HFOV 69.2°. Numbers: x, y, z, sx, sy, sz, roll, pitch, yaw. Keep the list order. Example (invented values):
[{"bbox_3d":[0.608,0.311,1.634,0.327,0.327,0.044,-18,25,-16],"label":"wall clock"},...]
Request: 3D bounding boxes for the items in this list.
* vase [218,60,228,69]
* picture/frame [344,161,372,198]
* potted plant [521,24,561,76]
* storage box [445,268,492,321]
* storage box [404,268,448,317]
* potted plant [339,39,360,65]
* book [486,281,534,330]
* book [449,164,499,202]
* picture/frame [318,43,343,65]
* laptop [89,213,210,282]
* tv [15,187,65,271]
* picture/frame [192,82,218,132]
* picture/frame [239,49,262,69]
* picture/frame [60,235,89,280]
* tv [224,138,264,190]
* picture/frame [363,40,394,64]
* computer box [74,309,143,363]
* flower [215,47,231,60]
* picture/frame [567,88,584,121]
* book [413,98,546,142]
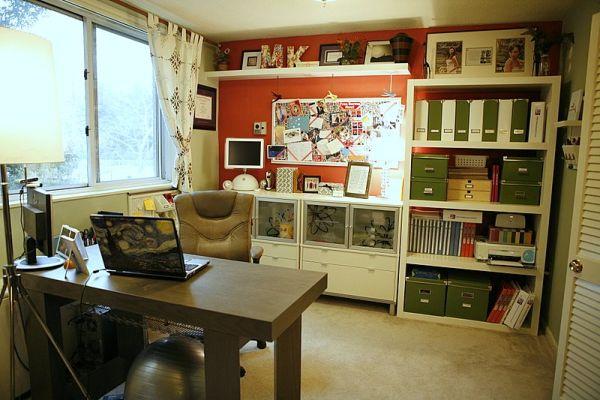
[{"bbox_3d":[-0.947,-1.645,5.330,0.099,0.070,0.099,-2,19,-3],"label":"vase"},{"bbox_3d":[0.664,-0.227,4.928,0.389,0.512,0.054,4,-9,23],"label":"picture/frame"},{"bbox_3d":[2.440,-1.503,4.375,0.365,0.562,0.389,4,8,23],"label":"potted plant"},{"bbox_3d":[1.720,0.977,4.472,0.442,0.425,0.447,4,1,20],"label":"storage box"},{"bbox_3d":[1.335,0.970,4.604,0.368,0.343,0.486,1,0,18],"label":"storage box"},{"bbox_3d":[0.568,-1.624,4.878,0.270,0.279,0.279,11,15,44],"label":"potted plant"},{"bbox_3d":[2.116,1.092,4.361,0.411,0.420,0.113,4,8,27],"label":"book"},{"bbox_3d":[1.771,-0.195,4.512,0.393,0.251,0.391,1,5,20],"label":"book"},{"bbox_3d":[0.368,-1.682,5.053,0.315,0.305,0.031,0,-2,18],"label":"picture/frame"},{"bbox_3d":[-1.061,0.299,3.154,0.696,0.454,0.565,1,8,22],"label":"laptop"},{"bbox_3d":[-1.983,0.237,3.278,0.389,0.557,0.507,-8,14,-44],"label":"tv"},{"bbox_3d":[-1.201,-1.141,5.345,0.029,0.429,0.431,2,4,26],"label":"picture/frame"},{"bbox_3d":[-0.593,-1.724,5.357,0.310,0.306,0.022,2,3,17],"label":"picture/frame"},{"bbox_3d":[-1.660,0.410,3.122,0.099,0.261,0.280,-22,13,-40],"label":"picture/frame"},{"bbox_3d":[-0.680,-0.440,5.347,0.502,0.640,0.372,2,-2,9],"label":"tv"},{"bbox_3d":[0.904,-1.659,4.890,0.351,0.301,0.026,1,5,16],"label":"picture/frame"},{"bbox_3d":[-1.669,1.117,3.600,0.364,0.416,0.361,-3,-8,-32],"label":"computer box"},{"bbox_3d":[-0.949,-1.789,5.410,0.196,0.170,0.196,-3,15,12],"label":"flower"},{"bbox_3d":[2.457,-0.834,3.860,0.097,0.279,0.371,5,8,31],"label":"picture/frame"},{"bbox_3d":[1.798,-0.787,4.393,1.249,0.419,0.160,2,7,11],"label":"book"}]
